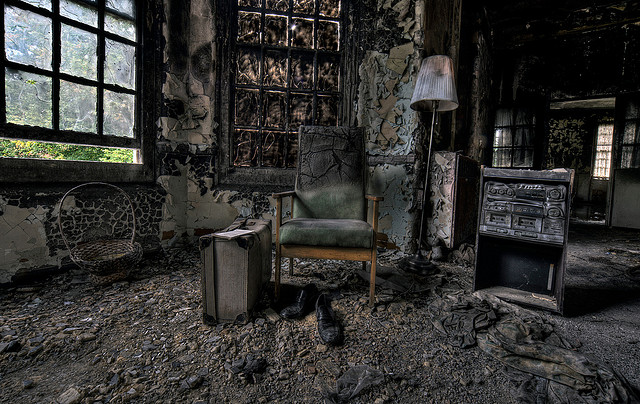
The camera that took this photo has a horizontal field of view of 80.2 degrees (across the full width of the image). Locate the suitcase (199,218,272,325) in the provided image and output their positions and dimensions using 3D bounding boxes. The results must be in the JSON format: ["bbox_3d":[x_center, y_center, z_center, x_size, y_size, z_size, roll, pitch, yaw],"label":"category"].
[{"bbox_3d":[-0.734,0.623,3.679,0.701,0.861,0.817,3,6,15],"label":"suitcase"}]

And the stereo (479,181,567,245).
[{"bbox_3d":[2.099,0.076,3.805,0.470,0.583,0.763,-9,12,-43],"label":"stereo"}]

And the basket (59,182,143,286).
[{"bbox_3d":[-2.322,0.360,3.956,0.710,1.022,0.763,11,21,41],"label":"basket"}]

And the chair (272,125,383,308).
[{"bbox_3d":[0.093,0.085,3.982,1.059,1.794,0.933,-1,7,3],"label":"chair"}]
